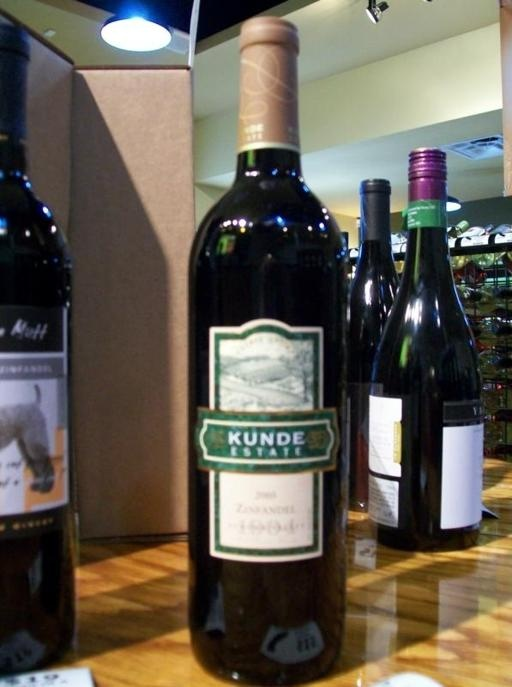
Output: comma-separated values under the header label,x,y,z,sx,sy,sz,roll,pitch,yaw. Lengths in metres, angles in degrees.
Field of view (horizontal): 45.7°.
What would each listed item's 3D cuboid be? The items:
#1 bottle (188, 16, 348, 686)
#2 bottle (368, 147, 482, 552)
label,x,y,z,sx,sy,sz,roll,pitch,yaw
bottle,0.005,-0.003,0.329,0.095,0.343,0.067,-3,0,-1
bottle,0.143,0.006,0.531,0.097,0.331,0.056,-3,0,22
